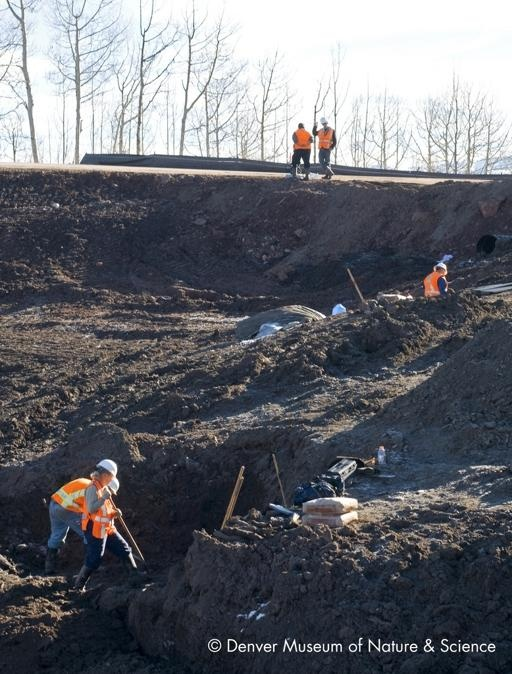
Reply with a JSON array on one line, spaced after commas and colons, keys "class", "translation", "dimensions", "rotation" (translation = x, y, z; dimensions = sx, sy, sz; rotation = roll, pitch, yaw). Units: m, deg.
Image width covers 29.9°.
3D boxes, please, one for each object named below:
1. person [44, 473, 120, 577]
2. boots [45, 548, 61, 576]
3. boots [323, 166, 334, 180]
[{"class": "person", "translation": [-1.771, 1.973, 9.859], "dimensions": [0.717, 1.114, 0.406], "rotation": [-8, 50, -25]}, {"class": "boots", "translation": [-2.159, 2.344, 10.145], "dimensions": [0.124, 0.264, 0.272], "rotation": [3, 16, -7]}, {"class": "boots", "translation": [2.032, -4.485, 26.168], "dimensions": [0.189, 0.507, 0.358], "rotation": [-4, 2, -4]}]
